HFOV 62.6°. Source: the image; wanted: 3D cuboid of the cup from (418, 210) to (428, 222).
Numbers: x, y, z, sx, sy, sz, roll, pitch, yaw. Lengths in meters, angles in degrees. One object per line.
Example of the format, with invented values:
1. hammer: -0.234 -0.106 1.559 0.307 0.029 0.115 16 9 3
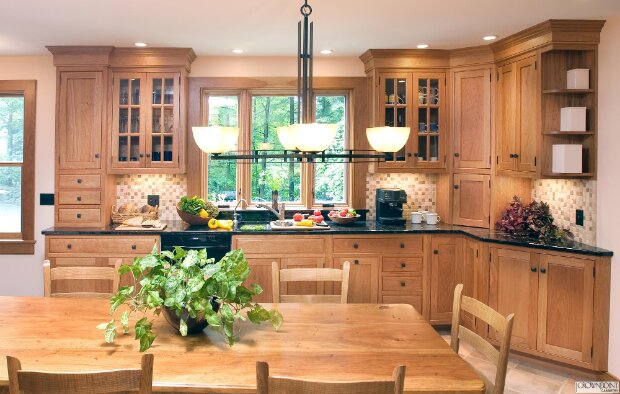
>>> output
1. cup: 1.433 0.254 6.408 0.134 0.103 0.133 -1 4 0

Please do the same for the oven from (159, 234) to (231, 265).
1. oven: -1.276 0.521 5.863 0.666 0.370 0.402 0 -6 -3

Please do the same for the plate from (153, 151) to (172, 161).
1. plate: -1.788 -0.484 6.181 0.161 0.085 0.153 -1 4 -34

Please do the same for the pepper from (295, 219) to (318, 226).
1. pepper: -0.063 0.299 6.064 0.173 0.051 0.089 1 11 3

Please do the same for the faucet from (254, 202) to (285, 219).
1. faucet: -0.489 0.185 6.422 0.354 0.207 0.353 -1 2 -3

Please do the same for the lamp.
1. lamp: 0.005 -0.605 4.864 2.143 1.472 1.952 -1 -3 14

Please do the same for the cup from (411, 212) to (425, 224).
1. cup: 1.345 0.263 6.375 0.164 0.142 0.153 0 2 0

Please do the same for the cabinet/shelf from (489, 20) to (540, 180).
1. cabinet/shelf: 2.286 -1.003 5.727 0.188 1.567 0.602 -1 3 -16

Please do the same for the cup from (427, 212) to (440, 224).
1. cup: 1.511 0.271 6.306 0.175 0.101 0.132 0 2 4

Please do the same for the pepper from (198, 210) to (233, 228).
1. pepper: -1.122 0.280 6.089 0.373 0.121 0.206 3 45 -12

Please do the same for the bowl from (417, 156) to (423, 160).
1. bowl: 1.358 -0.471 6.254 0.054 0.031 0.050 0 0 0

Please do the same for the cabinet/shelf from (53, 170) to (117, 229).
1. cabinet/shelf: -2.579 0.053 6.381 0.687 0.803 0.656 1 -6 -10

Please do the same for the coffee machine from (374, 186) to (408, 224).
1. coffee machine: 0.984 0.135 6.231 0.350 0.413 0.475 0 -3 -4

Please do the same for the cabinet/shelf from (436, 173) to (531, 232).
1. cabinet/shelf: 2.134 0.044 6.170 0.960 0.652 0.319 1 3 22

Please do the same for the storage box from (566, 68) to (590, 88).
1. storage box: 2.820 -1.233 5.366 0.219 0.223 0.137 1 3 23

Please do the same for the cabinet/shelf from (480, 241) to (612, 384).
1. cabinet/shelf: 2.440 1.183 5.124 1.627 1.317 0.619 0 -4 40

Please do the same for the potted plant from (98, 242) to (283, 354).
1. potted plant: -0.963 0.639 3.981 1.050 0.378 0.953 0 1 -9

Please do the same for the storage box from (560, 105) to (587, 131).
1. storage box: 2.778 -0.814 5.390 0.250 0.266 0.174 1 3 23

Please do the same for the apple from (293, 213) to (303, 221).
1. apple: -0.151 0.252 6.174 0.095 0.080 0.094 3 2 37
